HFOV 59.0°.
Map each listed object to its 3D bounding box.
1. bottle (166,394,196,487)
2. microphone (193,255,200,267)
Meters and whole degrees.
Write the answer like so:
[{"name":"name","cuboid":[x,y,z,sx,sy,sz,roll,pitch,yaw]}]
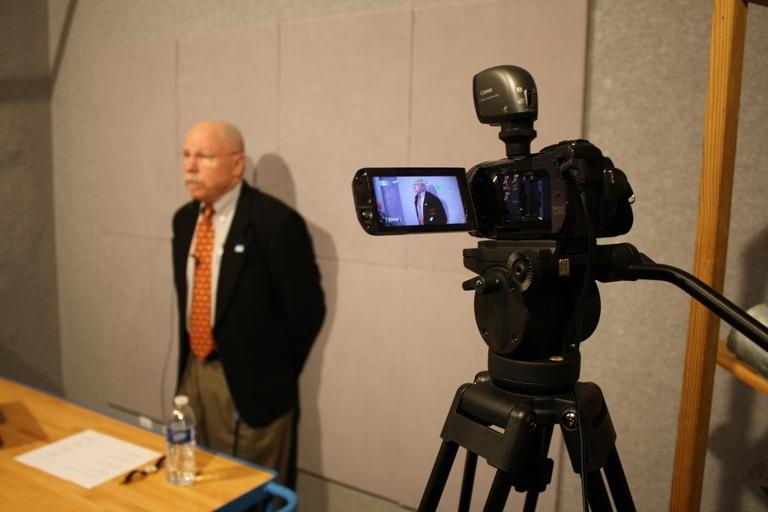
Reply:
[{"name":"bottle","cuboid":[-0.824,0.717,2.740,0.116,0.336,0.193,-2,7,-17]},{"name":"microphone","cuboid":[-1.013,0.023,3.646,0.043,0.045,0.016,2,7,40]}]
